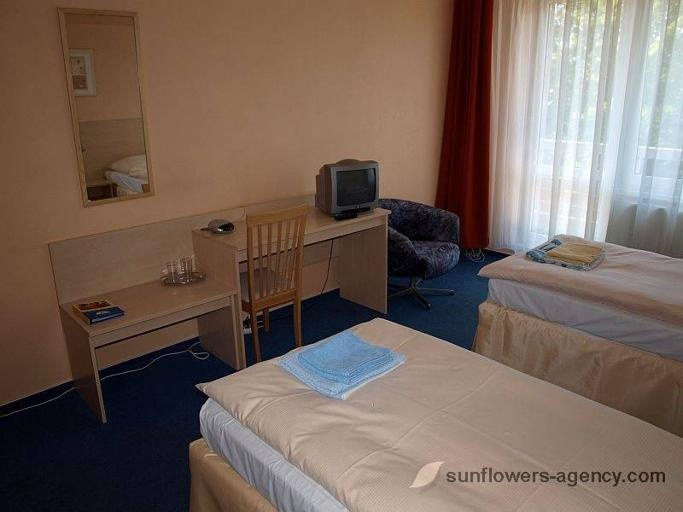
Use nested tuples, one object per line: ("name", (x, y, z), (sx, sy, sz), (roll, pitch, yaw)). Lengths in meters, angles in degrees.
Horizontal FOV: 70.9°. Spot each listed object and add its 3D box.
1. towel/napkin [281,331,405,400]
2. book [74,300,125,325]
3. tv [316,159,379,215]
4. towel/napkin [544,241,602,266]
("towel/napkin", (-0.039, 0.546, 2.485), (0.362, 0.087, 0.342), (-11, 16, -35))
("book", (-1.595, 0.355, 3.127), (0.239, 0.050, 0.175), (22, 23, 39))
("tv", (0.057, -0.645, 4.253), (0.567, 0.516, 0.481), (-11, 19, -34))
("towel/napkin", (1.758, -0.058, 3.604), (0.297, 0.072, 0.230), (6, 21, 40))
